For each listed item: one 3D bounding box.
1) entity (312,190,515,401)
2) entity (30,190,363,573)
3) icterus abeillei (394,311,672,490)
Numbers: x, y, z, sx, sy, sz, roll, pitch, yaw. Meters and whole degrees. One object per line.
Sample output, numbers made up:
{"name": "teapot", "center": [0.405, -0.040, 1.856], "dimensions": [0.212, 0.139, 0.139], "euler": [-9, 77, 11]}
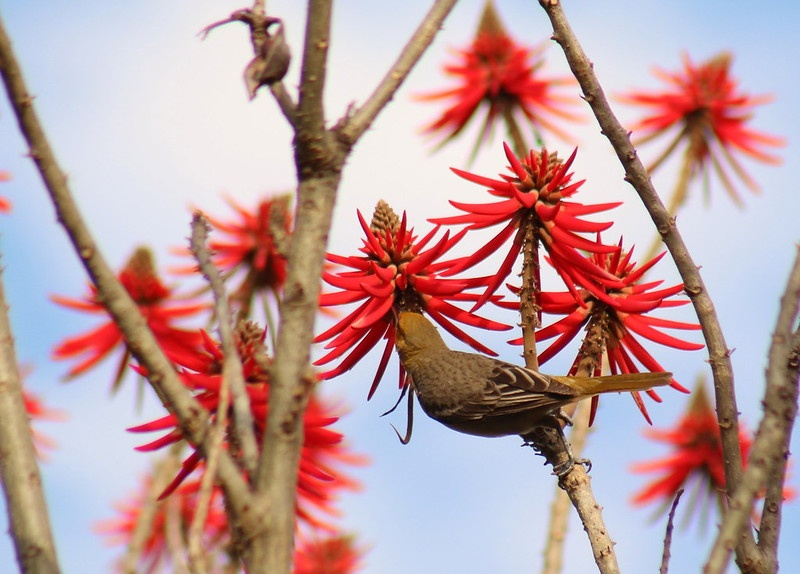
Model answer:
{"name": "entity", "center": [0.009, 0.012, 3.547], "dimensions": [0.475, 0.493, 0.332], "euler": [-21, -76, -9]}
{"name": "entity", "center": [-0.394, 0.263, 3.226], "dimensions": [0.589, 0.806, 0.704], "euler": [-9, -30, 16]}
{"name": "icterus abeillei", "center": [0.305, 0.227, 3.648], "dimensions": [0.726, 0.246, 0.530], "euler": [-16, -87, 7]}
